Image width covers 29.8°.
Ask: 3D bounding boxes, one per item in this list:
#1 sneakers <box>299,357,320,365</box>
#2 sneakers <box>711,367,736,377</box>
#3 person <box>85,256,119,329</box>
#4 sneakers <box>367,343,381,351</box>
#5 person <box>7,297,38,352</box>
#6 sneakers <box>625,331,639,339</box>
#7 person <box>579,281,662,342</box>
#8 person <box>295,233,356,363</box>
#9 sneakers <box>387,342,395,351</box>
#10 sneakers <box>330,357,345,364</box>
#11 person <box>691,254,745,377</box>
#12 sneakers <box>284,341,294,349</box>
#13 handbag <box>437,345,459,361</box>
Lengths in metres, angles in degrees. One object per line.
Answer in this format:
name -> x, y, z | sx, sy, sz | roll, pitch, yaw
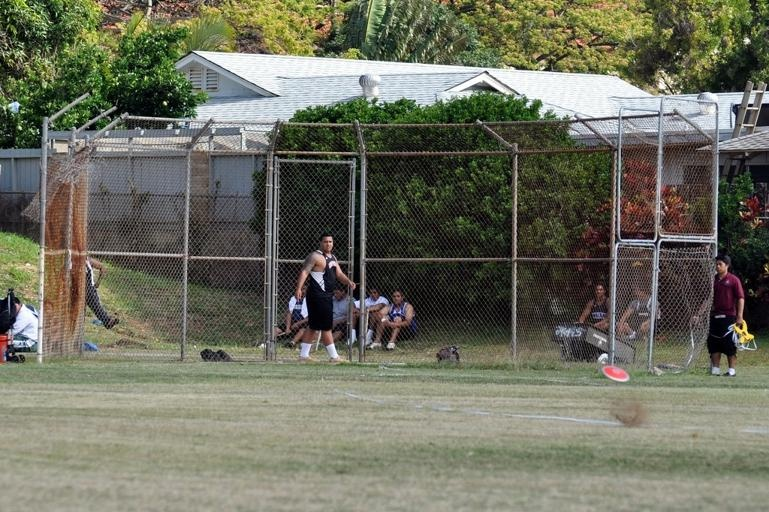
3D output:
sneakers -> -1.517, 2.172, 29.775 | 0.445, 0.176, 0.162 | -1, -4, 2
sneakers -> 6.852, 2.368, 29.336 | 0.574, 0.248, 0.199 | -5, 0, 10
person -> -6.119, 0.809, 31.559 | 0.675, 1.548, 3.034 | 1, -2, -11
sneakers -> -0.186, 1.984, 31.713 | 0.117, 0.139, 0.329 | 1, -6, 39
person -> -7.486, 1.479, 30.332 | 0.488, 1.053, 0.591 | 1, -1, -9
sneakers -> 5.026, 1.621, 29.448 | 0.101, 0.173, 0.284 | 1, -2, -26
person -> 4.815, 1.163, 29.835 | 1.079, 0.995, 1.454 | -4, -14, 38
person -> -1.223, 0.874, 29.834 | 1.339, 2.641, 0.774 | 2, 0, -21
sneakers -> 0.166, 1.991, 31.647 | 0.169, 0.163, 0.374 | 1, 3, 4
sneakers -> -0.934, 2.172, 29.889 | 0.328, 0.143, 0.116 | 0, -1, -12
person -> 6.905, 1.190, 29.608 | 0.842, 2.459, 0.834 | 0, -1, 12
sneakers -> -2.108, 1.996, 32.319 | 0.155, 0.081, 0.157 | 31, 58, 33
handbag -> 1.343, 2.037, 30.041 | 0.486, 0.303, 0.677 | 0, -2, 1
